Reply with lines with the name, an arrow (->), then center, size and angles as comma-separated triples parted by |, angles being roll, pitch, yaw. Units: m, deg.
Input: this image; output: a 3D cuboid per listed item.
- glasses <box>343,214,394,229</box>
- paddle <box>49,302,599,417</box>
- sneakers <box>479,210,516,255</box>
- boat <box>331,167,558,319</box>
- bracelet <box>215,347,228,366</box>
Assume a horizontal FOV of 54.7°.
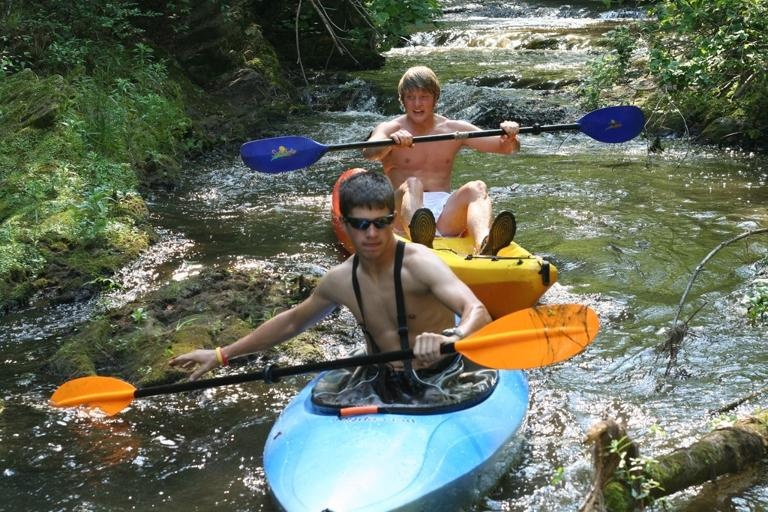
glasses -> -0.092, -0.212, 4.577 | 0.296, 0.095, 0.071 | -8, 31, 2
paddle -> -0.369, 0.745, 5.083 | 3.291, 0.235, 0.412 | -8, 57, 8
sneakers -> 0.886, -0.173, 5.794 | 0.162, 0.444, 0.175 | 16, 35, -15
boat -> 0.423, -0.224, 6.622 | 0.904, 0.684, 2.648 | -8, 20, -27
bracelet -> -1.027, 0.652, 4.791 | 0.038, 0.096, 0.083 | -21, 17, -12
